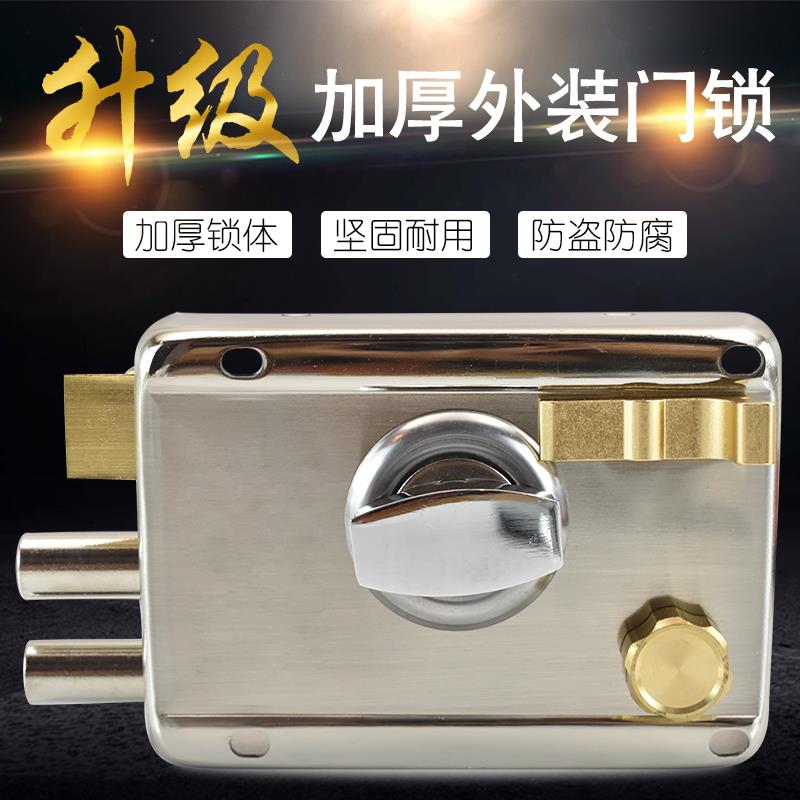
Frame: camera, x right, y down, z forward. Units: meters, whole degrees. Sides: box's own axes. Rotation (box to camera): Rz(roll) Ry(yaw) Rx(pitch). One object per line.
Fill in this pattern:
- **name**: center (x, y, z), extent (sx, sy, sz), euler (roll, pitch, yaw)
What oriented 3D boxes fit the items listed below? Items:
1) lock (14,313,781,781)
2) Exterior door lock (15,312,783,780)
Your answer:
- **lock**: center (0.020, 0.094, 0.733), extent (0.362, 0.081, 0.196), euler (0, 96, 0)
- **Exterior door lock**: center (0.020, 0.094, 0.733), extent (0.363, 0.080, 0.196), euler (0, 96, 0)
